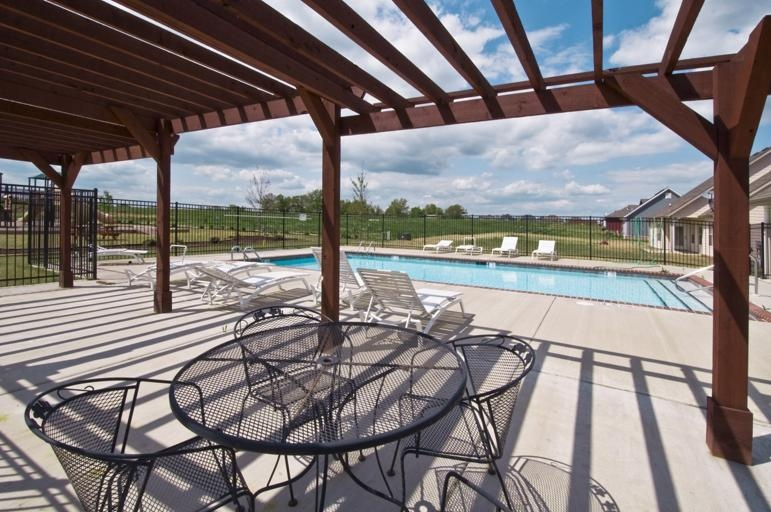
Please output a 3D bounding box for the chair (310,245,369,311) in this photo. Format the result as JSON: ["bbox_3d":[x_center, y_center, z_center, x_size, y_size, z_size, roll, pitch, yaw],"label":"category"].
[{"bbox_3d":[-0.731,0.473,8.889,0.739,0.838,1.472,2,4,27],"label":"chair"}]

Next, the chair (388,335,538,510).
[{"bbox_3d":[0.730,1.579,5.231,1.458,1.943,1.522,2,6,3],"label":"chair"}]

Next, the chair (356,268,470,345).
[{"bbox_3d":[0.271,0.725,7.654,0.927,0.886,1.589,4,4,34],"label":"chair"}]

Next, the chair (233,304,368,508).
[{"bbox_3d":[-1.090,1.505,6.365,1.659,2.465,1.883,3,6,41],"label":"chair"}]
